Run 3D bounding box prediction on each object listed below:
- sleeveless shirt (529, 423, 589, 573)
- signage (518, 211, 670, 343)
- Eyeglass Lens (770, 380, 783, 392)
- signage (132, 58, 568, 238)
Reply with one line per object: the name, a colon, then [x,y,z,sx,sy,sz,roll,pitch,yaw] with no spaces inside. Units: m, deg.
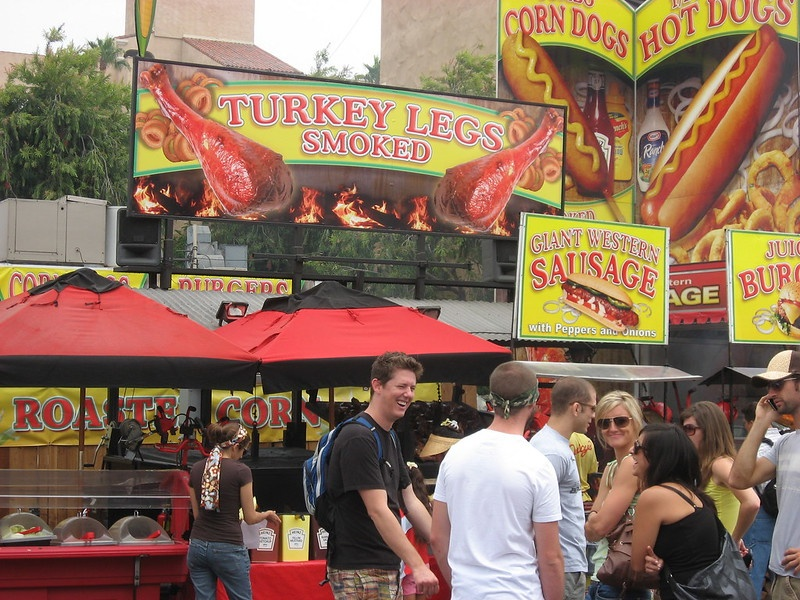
sleeveless shirt: [1.890,2.315,15.656,0.572,1.682,1.120,-2,6,14]
signage: [3.375,-0.325,22.909,3.203,2.036,0.062,3,-3,-25]
Eyeglass Lens: [4.243,0.980,15.108,0.108,0.034,0.104,11,-27,-4]
signage: [-0.560,-2.616,24.698,8.893,2.674,0.016,2,-1,-29]
